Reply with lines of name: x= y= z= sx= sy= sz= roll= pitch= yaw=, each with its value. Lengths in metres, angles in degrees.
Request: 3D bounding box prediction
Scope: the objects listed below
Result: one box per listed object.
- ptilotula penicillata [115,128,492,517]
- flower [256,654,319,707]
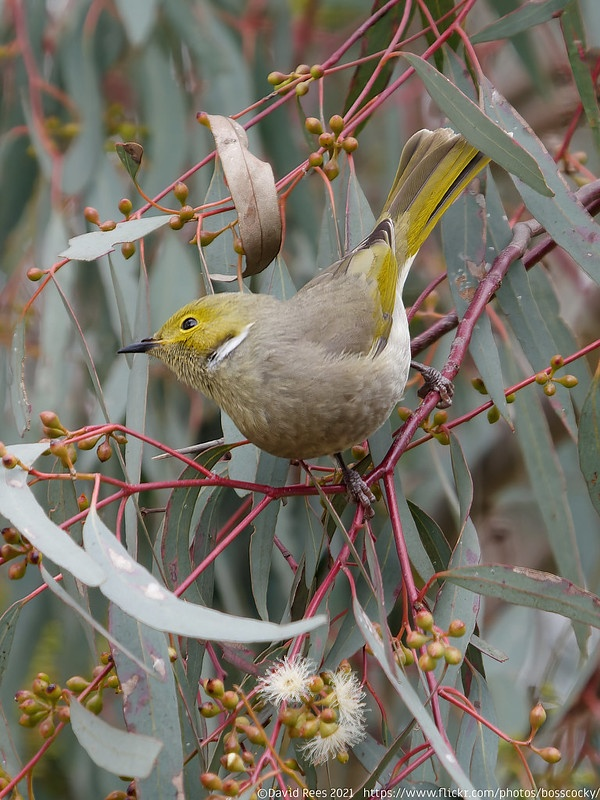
ptilotula penicillata: x=0.146 y=-0.212 z=2.497 sx=1.100 sy=0.352 sz=0.641 roll=-38 pitch=121 yaw=-23
flower: x=-0.026 y=0.470 z=1.651 sx=0.101 sy=0.152 sz=0.072 roll=-20 pitch=77 yaw=1
